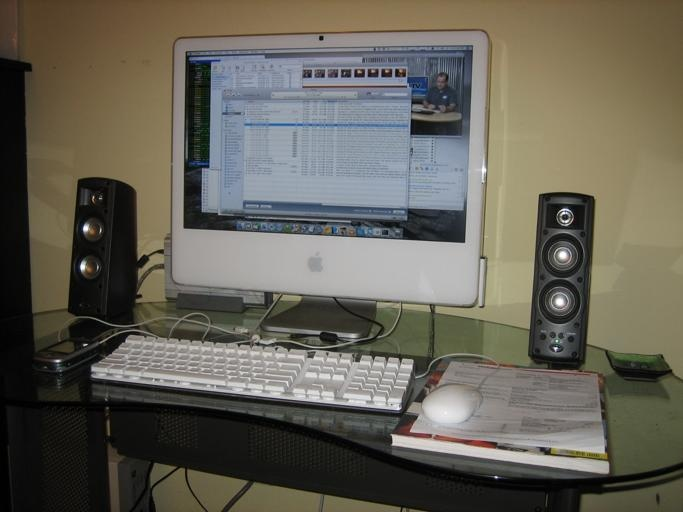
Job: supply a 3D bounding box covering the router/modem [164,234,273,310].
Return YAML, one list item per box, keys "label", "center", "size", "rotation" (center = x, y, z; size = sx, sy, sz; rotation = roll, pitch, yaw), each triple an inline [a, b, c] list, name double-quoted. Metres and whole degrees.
- label: "router/modem"
  center: [-0.330, 0.029, 1.580]
  size: [0.274, 0.179, 0.148]
  rotation: [2, 7, 34]
